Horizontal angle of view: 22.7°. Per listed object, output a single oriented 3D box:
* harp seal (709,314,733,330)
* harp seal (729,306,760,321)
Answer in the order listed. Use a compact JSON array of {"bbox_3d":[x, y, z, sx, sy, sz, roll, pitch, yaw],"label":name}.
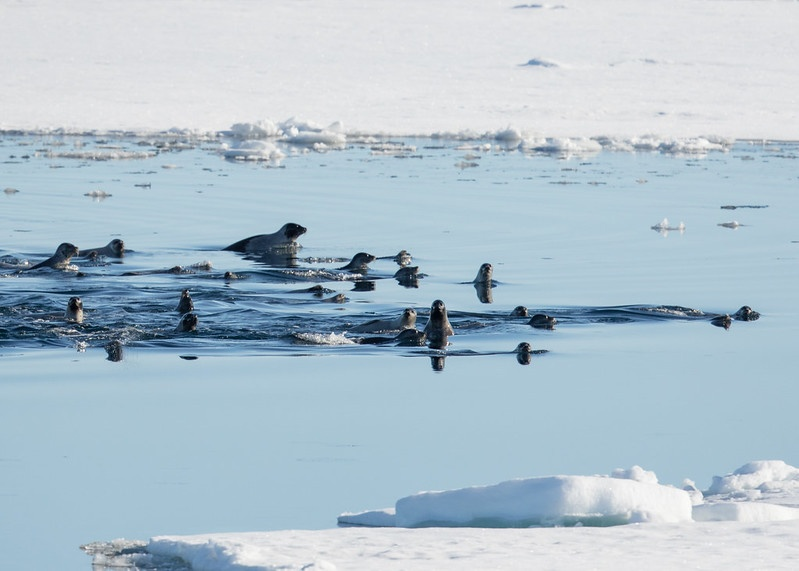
[{"bbox_3d":[9.463,1.056,57.719,0.591,0.362,0.769,1,4,8],"label":"harp seal"},{"bbox_3d":[10.287,0.825,58.299,0.661,0.401,0.959,4,5,44],"label":"harp seal"}]
